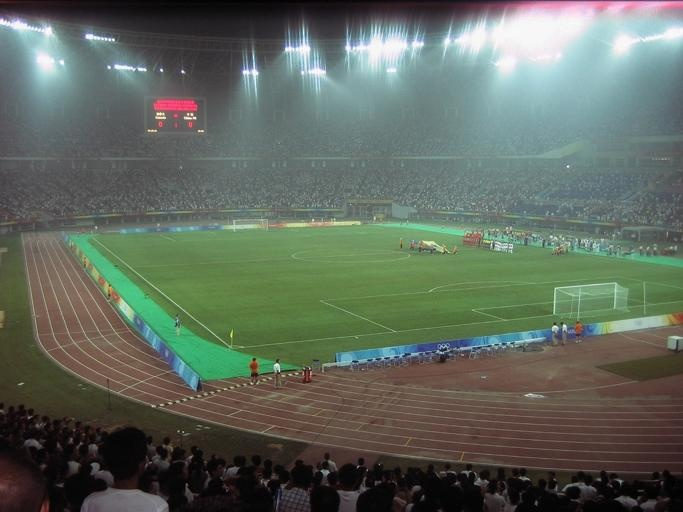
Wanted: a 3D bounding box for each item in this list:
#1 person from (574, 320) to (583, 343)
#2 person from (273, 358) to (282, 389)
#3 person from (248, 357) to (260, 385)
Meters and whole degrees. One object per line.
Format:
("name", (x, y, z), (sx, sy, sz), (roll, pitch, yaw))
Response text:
("person", (14.345, 4.561, 35.397), (0.404, 1.031, 1.344), (2, 7, 21))
("person", (-2.993, 5.470, 27.319), (0.364, 1.130, 1.376), (-2, 7, -7))
("person", (-4.180, 5.379, 28.172), (0.445, 1.164, 1.715), (-2, 7, -10))
